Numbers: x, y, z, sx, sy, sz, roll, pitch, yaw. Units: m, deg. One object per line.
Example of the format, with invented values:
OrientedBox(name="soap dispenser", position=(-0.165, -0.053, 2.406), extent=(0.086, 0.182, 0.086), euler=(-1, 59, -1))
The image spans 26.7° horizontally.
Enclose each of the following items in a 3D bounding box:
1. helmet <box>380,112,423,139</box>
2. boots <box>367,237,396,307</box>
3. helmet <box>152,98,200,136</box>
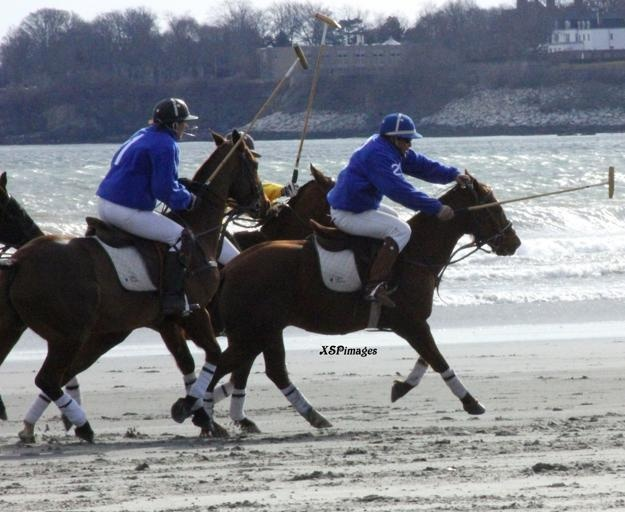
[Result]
OrientedBox(name="helmet", position=(1.019, -1.491, 15.201), extent=(0.437, 0.209, 0.288), euler=(1, 20, -15))
OrientedBox(name="boots", position=(0.772, 0.104, 14.915), extent=(0.385, 0.913, 0.240), euler=(10, -25, 0))
OrientedBox(name="helmet", position=(-1.595, -1.636, 14.954), extent=(0.623, 0.312, 0.432), euler=(-2, 11, 15))
